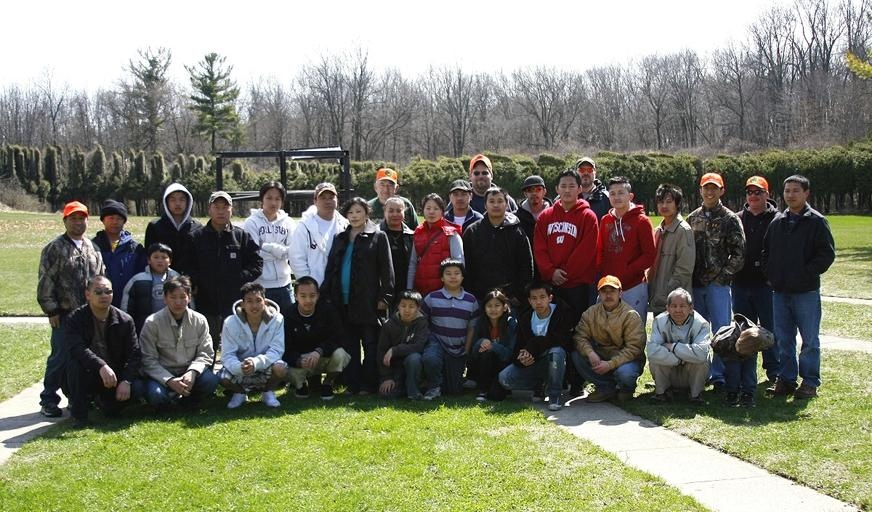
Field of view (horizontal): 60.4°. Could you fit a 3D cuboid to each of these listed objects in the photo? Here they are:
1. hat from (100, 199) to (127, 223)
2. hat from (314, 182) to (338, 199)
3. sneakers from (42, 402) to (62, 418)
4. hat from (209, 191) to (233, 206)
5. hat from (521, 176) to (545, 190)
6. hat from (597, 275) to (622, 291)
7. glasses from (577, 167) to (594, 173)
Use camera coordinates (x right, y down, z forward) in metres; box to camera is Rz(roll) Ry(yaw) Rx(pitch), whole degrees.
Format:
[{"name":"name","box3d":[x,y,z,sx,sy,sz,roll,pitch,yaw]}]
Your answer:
[{"name":"hat","box3d":[-5.223,-0.740,12.116,0.365,0.348,0.590,-4,5,-25]},{"name":"hat","box3d":[-1.907,-1.173,12.850,0.305,0.211,0.397,1,-11,-9]},{"name":"sneakers","box3d":[-5.883,2.363,11.492,0.334,0.151,0.160,1,5,29]},{"name":"hat","box3d":[-3.541,-0.953,12.298,0.326,0.202,0.226,-5,6,-33]},{"name":"hat","box3d":[1.676,-1.293,13.122,0.307,0.207,0.402,-8,-26,10]},{"name":"hat","box3d":[2.784,0.422,12.020,0.417,0.204,0.278,-4,5,-26]},{"name":"glasses","box3d":[2.660,-1.557,13.481,0.200,0.061,0.200,1,2,6]}]
